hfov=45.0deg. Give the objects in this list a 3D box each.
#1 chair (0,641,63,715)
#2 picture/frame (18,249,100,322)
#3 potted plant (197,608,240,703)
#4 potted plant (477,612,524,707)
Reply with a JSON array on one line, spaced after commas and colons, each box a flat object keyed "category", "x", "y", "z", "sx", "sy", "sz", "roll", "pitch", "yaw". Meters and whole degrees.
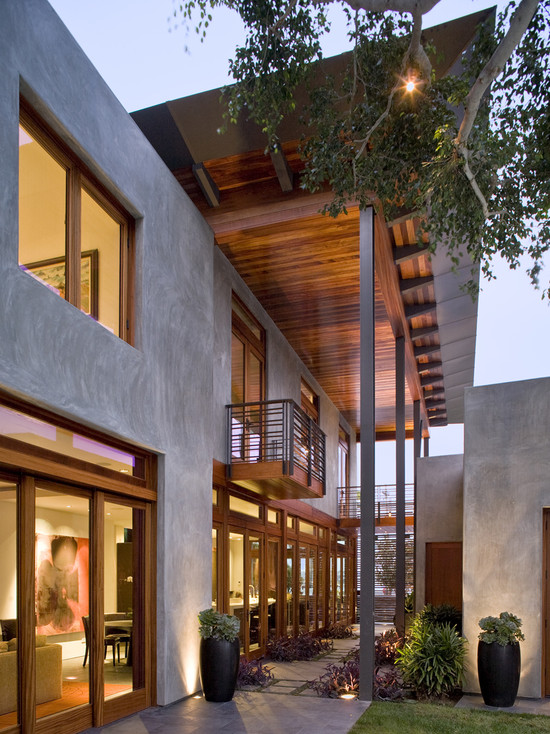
[{"category": "chair", "x": -1.805, "y": 2.280, "z": 4.868, "sx": 0.234, "sy": 0.668, "sz": 0.518, "roll": -5, "pitch": -12, "yaw": 24}, {"category": "picture/frame", "x": -1.802, "y": -0.729, "z": 5.754, "sx": 0.661, "sy": 0.524, "sz": 0.045, "roll": -18, "pitch": -25, "yaw": -40}, {"category": "potted plant", "x": -0.622, "y": 3.206, "z": 7.397, "sx": 0.433, "sy": 0.954, "sz": 0.413, "roll": 0, "pitch": -12, "yaw": -9}, {"category": "potted plant", "x": 2.473, "y": 3.184, "z": 7.268, "sx": 0.334, "sy": 0.972, "sz": 0.424, "roll": -3, "pitch": -8, "yaw": 16}]
